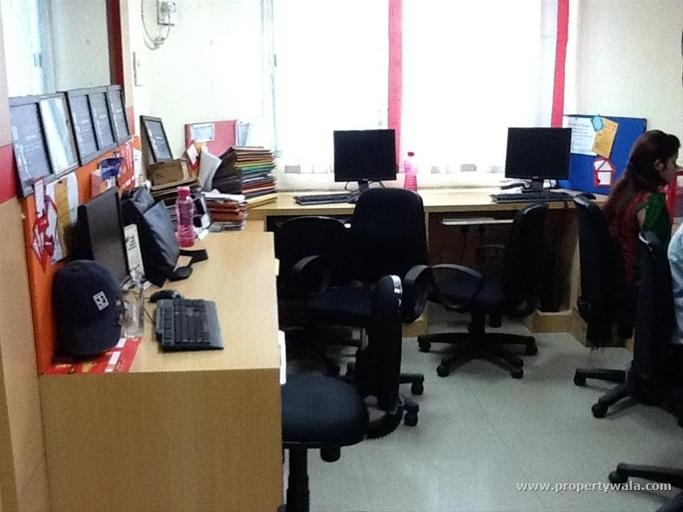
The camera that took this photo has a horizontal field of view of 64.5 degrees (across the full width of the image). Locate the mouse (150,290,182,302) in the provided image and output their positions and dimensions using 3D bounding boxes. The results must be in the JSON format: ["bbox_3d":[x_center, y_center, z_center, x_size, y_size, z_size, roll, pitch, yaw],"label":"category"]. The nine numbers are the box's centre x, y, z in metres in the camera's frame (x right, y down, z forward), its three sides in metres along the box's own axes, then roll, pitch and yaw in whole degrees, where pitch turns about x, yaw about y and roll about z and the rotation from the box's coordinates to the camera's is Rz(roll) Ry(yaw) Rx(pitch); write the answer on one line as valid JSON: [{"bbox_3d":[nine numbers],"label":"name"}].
[{"bbox_3d":[-0.732,0.163,2.238,0.105,0.036,0.059,1,9,-7],"label":"mouse"}]

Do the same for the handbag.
[{"bbox_3d":[-0.834,-0.117,2.545,0.379,0.416,0.349,-17,20,-20],"label":"handbag"}]

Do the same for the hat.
[{"bbox_3d":[-0.823,0.179,1.746,0.204,0.318,0.157,-3,-12,-25],"label":"hat"}]

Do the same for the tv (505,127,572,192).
[{"bbox_3d":[1.481,-0.740,4.097,0.465,0.505,0.161,2,6,14],"label":"tv"}]

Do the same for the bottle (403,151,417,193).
[{"bbox_3d":[0.545,-0.661,4.271,0.107,0.322,0.236,0,16,7],"label":"bottle"}]

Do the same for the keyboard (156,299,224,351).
[{"bbox_3d":[-0.563,0.256,1.985,0.223,0.044,0.286,1,29,-21],"label":"keyboard"}]

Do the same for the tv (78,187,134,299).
[{"bbox_3d":[-0.857,-0.031,2.104,0.135,0.372,0.368,-2,-3,-43],"label":"tv"}]

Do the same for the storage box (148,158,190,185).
[{"bbox_3d":[-1.143,-0.549,3.593,0.221,0.146,0.227,-9,10,-10],"label":"storage box"}]

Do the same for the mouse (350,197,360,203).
[{"bbox_3d":[0.093,-0.398,3.876,0.058,0.029,0.083,-1,5,7],"label":"mouse"}]

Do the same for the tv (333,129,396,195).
[{"bbox_3d":[0.176,-0.733,4.099,0.562,0.582,0.193,0,5,1],"label":"tv"}]

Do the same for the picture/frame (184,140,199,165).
[{"bbox_3d":[-1.080,-0.742,3.930,0.036,0.154,0.145,5,55,29],"label":"picture/frame"}]
